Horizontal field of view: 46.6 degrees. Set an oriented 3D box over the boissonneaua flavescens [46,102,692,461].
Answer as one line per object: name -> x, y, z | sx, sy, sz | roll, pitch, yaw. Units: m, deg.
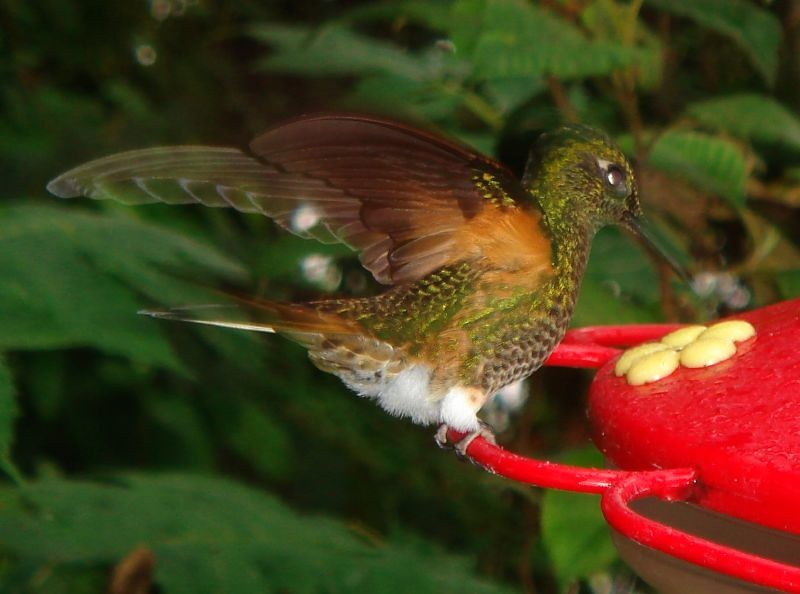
boissonneaua flavescens -> -0.031, -0.043, 1.330 | 0.872, 0.302, 0.436 | 6, 85, -25
